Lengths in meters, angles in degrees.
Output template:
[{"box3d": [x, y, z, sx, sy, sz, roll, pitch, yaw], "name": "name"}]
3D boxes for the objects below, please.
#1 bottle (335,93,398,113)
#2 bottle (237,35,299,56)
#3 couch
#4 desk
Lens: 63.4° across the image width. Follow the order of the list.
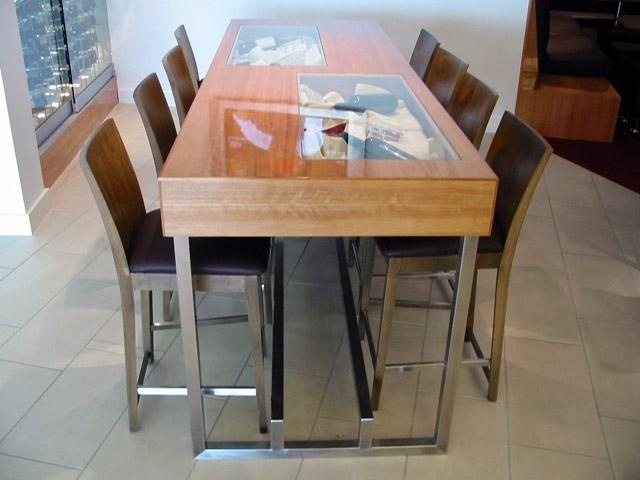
[{"box3d": [0.174, -0.526, 1.993, 0.156, 0.057, 0.125, 0, 33, -5], "name": "bottle"}, {"box3d": [-0.278, -1.063, 2.868, 0.294, 0.089, 0.181, -7, 46, 0], "name": "bottle"}, {"box3d": [2.336, -1.569, 4.779, 0.920, 1.193, 0.578, 9, 27, 21], "name": "couch"}, {"box3d": [0.003, -0.046, 2.393, 1.105, 1.354, 1.367, -2, 26, -3], "name": "desk"}]
